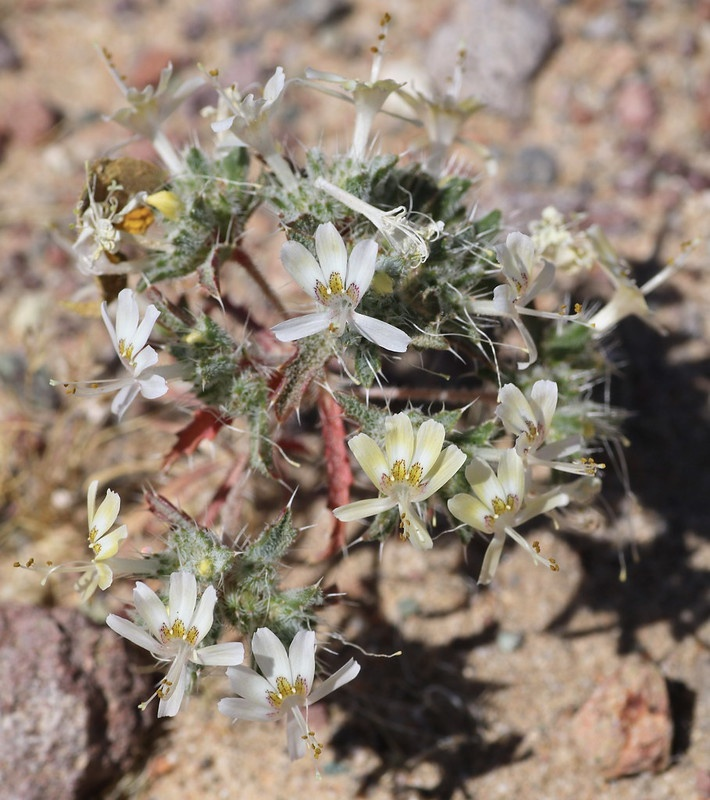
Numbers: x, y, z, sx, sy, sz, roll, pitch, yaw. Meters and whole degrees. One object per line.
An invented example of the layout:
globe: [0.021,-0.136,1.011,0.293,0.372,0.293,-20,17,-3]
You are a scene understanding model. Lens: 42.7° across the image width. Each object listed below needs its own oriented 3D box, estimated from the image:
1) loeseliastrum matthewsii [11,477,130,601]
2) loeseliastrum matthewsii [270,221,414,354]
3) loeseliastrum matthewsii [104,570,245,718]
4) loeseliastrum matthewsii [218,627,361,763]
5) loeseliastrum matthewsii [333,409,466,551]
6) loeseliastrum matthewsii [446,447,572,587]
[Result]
loeseliastrum matthewsii: [-0.762,0.389,2.514,0.190,0.350,0.253,-17,62,27]
loeseliastrum matthewsii: [-0.024,-0.299,2.498,0.176,0.331,0.412,16,36,42]
loeseliastrum matthewsii: [-0.479,0.627,2.441,0.427,0.191,0.375,-4,87,5]
loeseliastrum matthewsii: [-0.152,0.780,2.403,0.304,0.346,0.235,7,101,34]
loeseliastrum matthewsii: [0.130,0.219,2.405,0.206,0.436,0.350,34,70,-25]
loeseliastrum matthewsii: [0.401,0.347,2.558,0.234,0.497,0.363,32,102,18]
